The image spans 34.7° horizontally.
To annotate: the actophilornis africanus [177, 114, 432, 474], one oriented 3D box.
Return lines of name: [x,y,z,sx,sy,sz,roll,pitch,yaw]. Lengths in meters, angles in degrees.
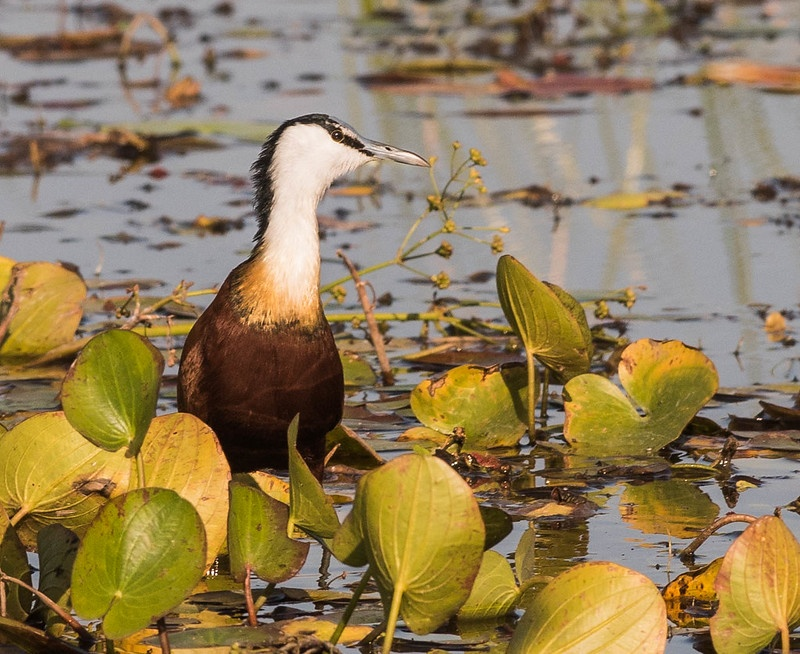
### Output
actophilornis africanus: [-0.441,-0.131,4.715,0.520,1.342,0.638,1,5,29]
